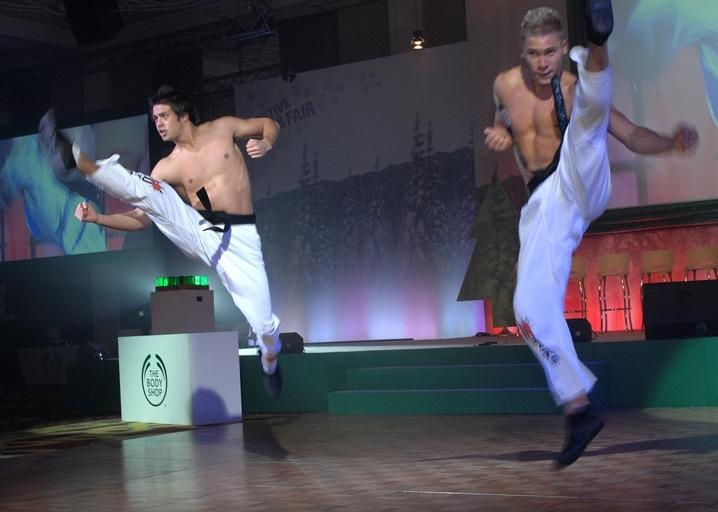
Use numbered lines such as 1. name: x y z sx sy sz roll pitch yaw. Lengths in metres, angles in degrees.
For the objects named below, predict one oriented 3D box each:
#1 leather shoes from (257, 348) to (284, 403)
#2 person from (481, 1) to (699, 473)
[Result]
1. leather shoes: -0.665 0.966 5.250 0.177 0.216 0.637 -13 -34 -7
2. person: 1.092 -0.106 3.603 0.719 2.457 0.531 -7 -6 39
